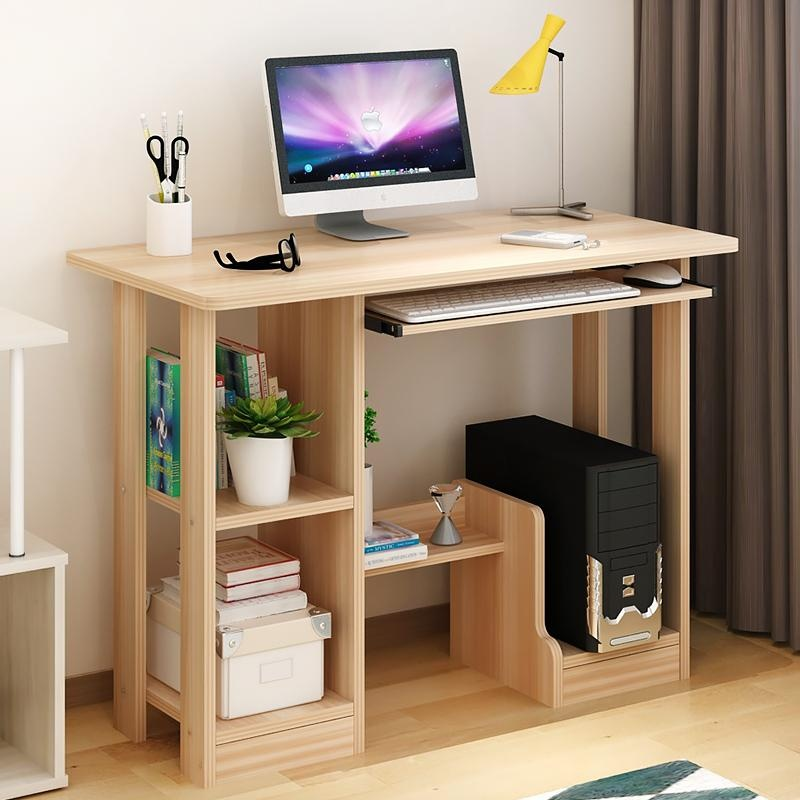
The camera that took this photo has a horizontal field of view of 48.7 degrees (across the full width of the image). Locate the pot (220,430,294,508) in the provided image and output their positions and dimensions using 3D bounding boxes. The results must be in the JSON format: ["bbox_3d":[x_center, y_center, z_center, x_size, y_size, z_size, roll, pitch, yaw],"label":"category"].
[{"bbox_3d":[-0.235,0.117,1.515,0.126,0.102,0.113,2,3,30],"label":"pot"}]

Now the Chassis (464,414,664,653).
[{"bbox_3d":[0.300,0.247,1.949,0.292,0.451,0.555,-9,17,-31],"label":"Chassis"}]

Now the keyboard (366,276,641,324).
[{"bbox_3d":[0.180,-0.192,1.652,0.516,0.046,0.219,-10,11,-28],"label":"keyboard"}]

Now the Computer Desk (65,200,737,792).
[{"bbox_3d":[-0.013,0.199,1.737,1.044,0.718,0.459,-10,19,-32],"label":"Computer Desk"}]
